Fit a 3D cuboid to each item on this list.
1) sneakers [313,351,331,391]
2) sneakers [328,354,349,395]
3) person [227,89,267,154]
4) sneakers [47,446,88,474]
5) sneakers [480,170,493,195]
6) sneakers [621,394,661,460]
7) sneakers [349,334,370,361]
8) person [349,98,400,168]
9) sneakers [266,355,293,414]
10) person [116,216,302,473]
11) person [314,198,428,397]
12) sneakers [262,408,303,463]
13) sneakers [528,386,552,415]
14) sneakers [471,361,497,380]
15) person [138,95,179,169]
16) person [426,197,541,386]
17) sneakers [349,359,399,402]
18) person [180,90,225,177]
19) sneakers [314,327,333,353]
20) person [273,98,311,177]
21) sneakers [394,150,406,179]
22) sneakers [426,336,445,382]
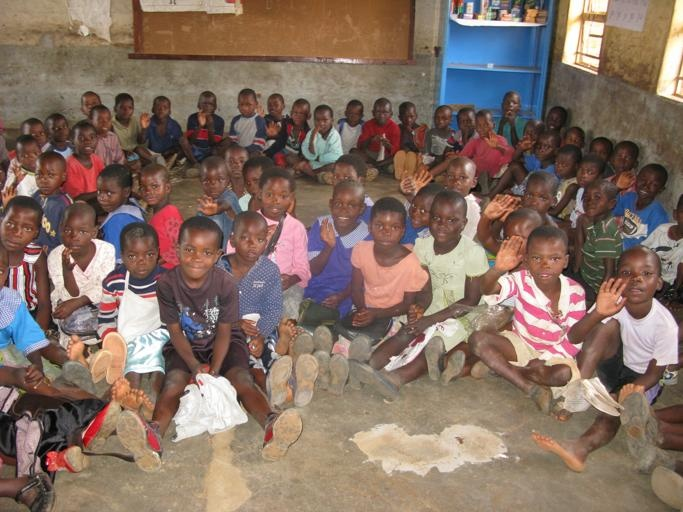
[{"bbox_3d":[-0.113,0.666,3.744,0.088,0.214,0.090,2,7,4],"label":"sneakers"},{"bbox_3d":[-0.017,0.672,3.701,0.115,0.227,0.092,6,13,13],"label":"sneakers"},{"bbox_3d":[-1.108,-1.540,7.371,0.553,0.703,0.491,11,28,14],"label":"person"},{"bbox_3d":[-1.383,1.026,3.251,0.203,0.097,0.093,-9,12,35],"label":"sneakers"},{"bbox_3d":[1.465,-0.736,6.542,0.106,0.296,0.124,-1,5,28],"label":"sneakers"},{"bbox_3d":[1.526,0.885,3.355,0.224,0.335,0.139,4,-8,-10],"label":"sneakers"},{"bbox_3d":[0.116,0.550,3.787,0.141,0.144,0.138,-2,18,-6],"label":"sneakers"},{"bbox_3d":[0.436,-1.410,7.476,0.620,0.796,0.577,-15,32,-27],"label":"person"},{"bbox_3d":[-0.333,0.698,3.546,0.150,0.298,0.145,9,0,-36],"label":"sneakers"},{"bbox_3d":[-0.760,0.314,3.641,1.004,0.944,1.335,-6,34,-16],"label":"person"},{"bbox_3d":[0.245,0.158,3.938,0.733,1.108,1.112,6,37,6],"label":"person"},{"bbox_3d":[-0.307,0.903,3.375,0.180,0.290,0.120,24,17,-16],"label":"sneakers"},{"bbox_3d":[1.118,0.800,3.605,0.072,0.086,0.167,-6,35,-32],"label":"sneakers"},{"bbox_3d":[0.847,0.699,3.896,0.160,0.098,0.076,-6,57,0],"label":"sneakers"},{"bbox_3d":[-2.047,-1.417,7.282,0.507,0.752,0.574,16,21,22],"label":"person"},{"bbox_3d":[0.986,0.253,4.147,0.969,1.063,0.430,2,-17,26],"label":"person"},{"bbox_3d":[0.190,0.712,3.744,0.281,0.239,0.150,5,19,15],"label":"sneakers"},{"bbox_3d":[-1.548,-1.432,7.446,0.637,0.844,0.697,14,23,8],"label":"person"},{"bbox_3d":[-0.111,0.495,3.826,0.100,0.151,0.076,2,13,9],"label":"sneakers"},{"bbox_3d":[-0.502,-1.402,7.347,0.504,0.709,0.566,17,27,12],"label":"person"},{"bbox_3d":[0.644,-1.012,7.201,0.134,0.344,0.273,1,18,4],"label":"sneakers"},{"bbox_3d":[0.550,0.598,3.790,0.106,0.247,0.112,6,5,34],"label":"sneakers"}]
